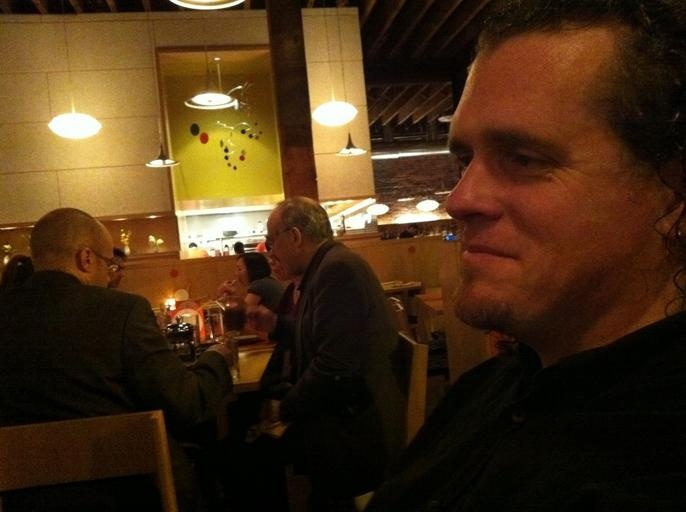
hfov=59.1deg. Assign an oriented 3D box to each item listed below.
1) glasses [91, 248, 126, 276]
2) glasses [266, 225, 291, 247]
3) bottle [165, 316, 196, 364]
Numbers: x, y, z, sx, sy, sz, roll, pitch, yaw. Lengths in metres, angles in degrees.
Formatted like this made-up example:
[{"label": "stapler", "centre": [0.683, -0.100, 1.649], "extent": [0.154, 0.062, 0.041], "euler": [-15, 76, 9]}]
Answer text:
[{"label": "glasses", "centre": [-0.795, 0.021, 2.041], "extent": [0.103, 0.031, 0.096], "euler": [30, 8, 21]}, {"label": "glasses", "centre": [-0.250, -0.073, 2.254], "extent": [0.088, 0.026, 0.083], "euler": [-35, 9, -19]}, {"label": "bottle", "centre": [-0.618, 0.329, 2.337], "extent": [0.149, 0.195, 0.136], "euler": [1, 0, 0]}]
